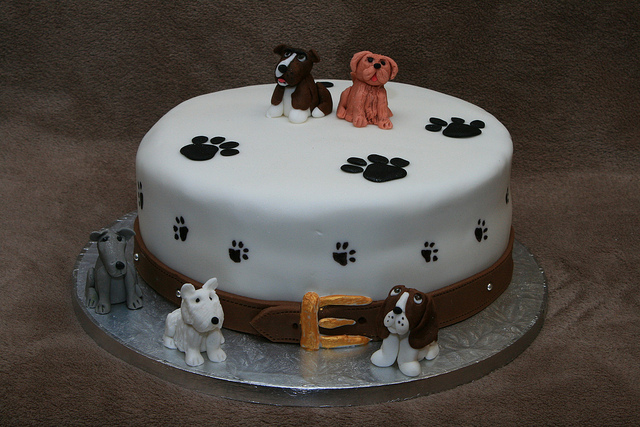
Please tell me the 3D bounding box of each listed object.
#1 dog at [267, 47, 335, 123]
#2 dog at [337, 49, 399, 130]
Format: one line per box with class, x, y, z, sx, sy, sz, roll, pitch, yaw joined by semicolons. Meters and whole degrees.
dog;-0.192;-1.416;8.211;0.653;0.729;0.841;13;23;25
dog;0.506;-1.356;8.060;0.649;0.753;0.851;-5;26;-18
